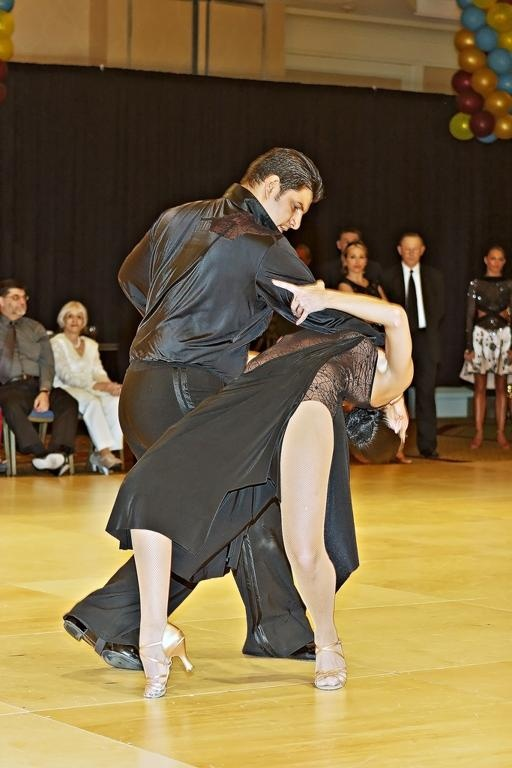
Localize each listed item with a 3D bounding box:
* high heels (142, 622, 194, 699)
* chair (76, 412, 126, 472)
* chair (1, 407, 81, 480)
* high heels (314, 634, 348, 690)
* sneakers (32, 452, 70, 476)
[{"bbox_3d":[-0.210,0.622,1.634,0.120,0.197,0.068,4,30,0],"label":"high heels"},{"bbox_3d":[-1.601,0.745,7.279,0.293,0.523,0.839,0,-5,-27],"label":"chair"},{"bbox_3d":[-2.168,0.593,7.028,0.727,0.943,0.620,6,-10,-41],"label":"chair"},{"bbox_3d":[0.158,0.632,1.647,0.055,0.134,0.037,-4,5,6],"label":"high heels"},{"bbox_3d":[-1.894,0.739,6.763,0.391,0.162,0.161,9,8,-2],"label":"sneakers"}]
